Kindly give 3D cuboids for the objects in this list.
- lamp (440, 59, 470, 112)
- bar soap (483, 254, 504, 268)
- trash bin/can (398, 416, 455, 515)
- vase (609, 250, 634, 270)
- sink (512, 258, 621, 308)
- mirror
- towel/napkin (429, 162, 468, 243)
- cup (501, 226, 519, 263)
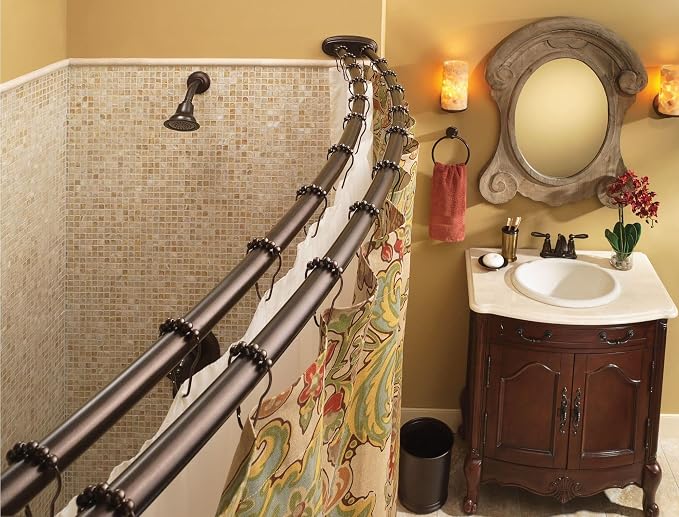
[{"bbox_3d":[0.561,-0.841,2.544,0.147,0.215,0.169,4,-1,11],"label":"lamp"},{"bbox_3d":[0.758,0.013,2.577,0.113,0.063,0.082,4,-2,8],"label":"bar soap"},{"bbox_3d":[0.414,1.021,2.723,0.352,0.425,0.397,1,26,6],"label":"trash bin/can"},{"bbox_3d":[1.372,0.007,2.561,0.084,0.086,0.087,0,9,7],"label":"vase"},{"bbox_3d":[1.050,0.107,2.438,0.449,0.186,0.408,3,-2,29],"label":"sink"},{"bbox_3d":[1.102,-0.749,2.549,0.876,1.085,0.112,0,15,3],"label":"mirror"},{"bbox_3d":[0.512,-0.274,2.538,0.191,0.367,0.097,2,9,29],"label":"towel/napkin"},{"bbox_3d":[0.858,-0.069,2.643,0.077,0.148,0.106,4,-1,19],"label":"cup"}]
